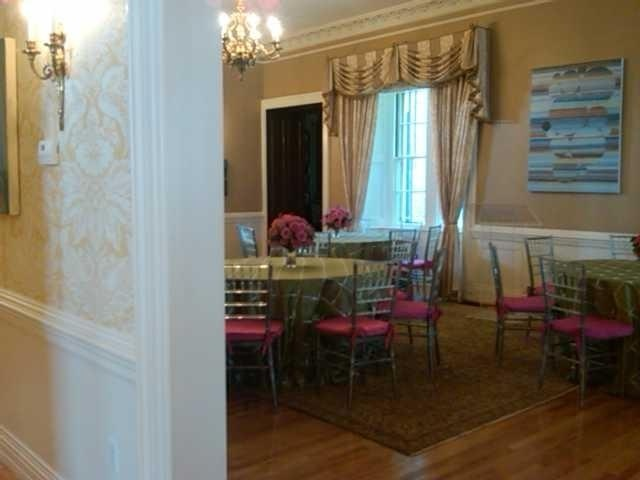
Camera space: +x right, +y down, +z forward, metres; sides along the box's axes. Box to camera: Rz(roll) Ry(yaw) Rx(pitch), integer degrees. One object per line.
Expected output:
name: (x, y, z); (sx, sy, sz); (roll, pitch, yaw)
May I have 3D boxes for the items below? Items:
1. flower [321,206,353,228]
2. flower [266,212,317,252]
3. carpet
flower: (0.219, -0.284, 6.761); (0.279, 0.321, 0.294); (2, 8, 30)
flower: (-0.226, -0.082, 4.466); (0.304, 0.317, 0.330); (-1, 7, 8)
carpet: (1.068, 1.147, 4.288); (2.584, 0.139, 1.554); (-7, 11, -44)
